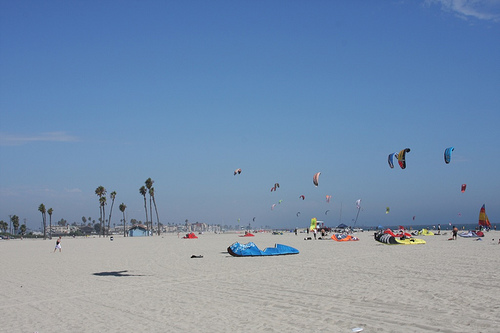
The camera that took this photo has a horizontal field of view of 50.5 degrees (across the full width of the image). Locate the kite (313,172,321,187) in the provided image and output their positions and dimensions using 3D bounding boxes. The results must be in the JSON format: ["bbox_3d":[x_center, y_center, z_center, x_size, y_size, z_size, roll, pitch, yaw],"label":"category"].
[{"bbox_3d":[5.431,1.116,43.698,0.407,1.364,1.024,-3,-38,12],"label":"kite"}]

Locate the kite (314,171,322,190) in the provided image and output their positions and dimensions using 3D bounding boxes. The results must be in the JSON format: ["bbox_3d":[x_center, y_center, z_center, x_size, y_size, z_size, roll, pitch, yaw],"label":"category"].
[{"bbox_3d":[5.544,1.131,44.416,0.348,1.246,1.241,5,-12,-3],"label":"kite"}]

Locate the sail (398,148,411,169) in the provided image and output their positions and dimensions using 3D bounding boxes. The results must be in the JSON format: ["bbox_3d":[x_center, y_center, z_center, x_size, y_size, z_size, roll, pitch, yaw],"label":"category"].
[{"bbox_3d":[9.789,-0.522,34.023,0.488,1.652,1.217,8,0,22],"label":"sail"}]

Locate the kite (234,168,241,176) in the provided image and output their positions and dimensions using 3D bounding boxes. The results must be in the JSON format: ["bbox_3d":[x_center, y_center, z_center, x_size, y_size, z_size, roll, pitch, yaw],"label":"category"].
[{"bbox_3d":[-1.621,0.830,65.179,0.917,1.128,2.799,0,-5,-2],"label":"kite"}]

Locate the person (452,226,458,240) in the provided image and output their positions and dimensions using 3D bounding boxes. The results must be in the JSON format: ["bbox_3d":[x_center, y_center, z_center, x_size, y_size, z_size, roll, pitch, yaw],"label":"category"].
[{"bbox_3d":[17.973,5.878,46.811,0.358,1.159,2.098,-1,-7,20],"label":"person"}]

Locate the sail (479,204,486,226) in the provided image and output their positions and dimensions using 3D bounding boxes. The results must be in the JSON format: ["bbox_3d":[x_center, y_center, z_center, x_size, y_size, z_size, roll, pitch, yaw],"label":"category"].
[{"bbox_3d":[27.088,5.827,61.894,0.643,2.213,1.283,-2,-7,24],"label":"sail"}]
